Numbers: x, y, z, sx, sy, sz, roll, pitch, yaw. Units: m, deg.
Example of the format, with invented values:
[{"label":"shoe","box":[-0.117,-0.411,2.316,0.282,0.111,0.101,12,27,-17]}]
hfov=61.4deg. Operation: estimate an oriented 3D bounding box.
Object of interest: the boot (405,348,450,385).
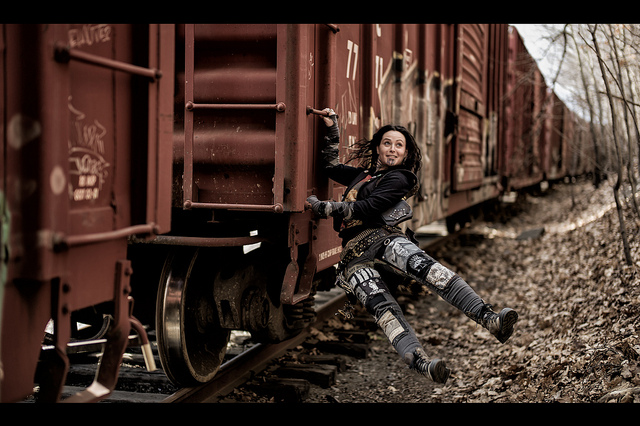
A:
[{"label":"boot","box":[0.843,1.202,4.211,0.228,0.277,0.332,-1,14,-34]}]

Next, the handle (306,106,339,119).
[{"label":"handle","box":[-0.026,-0.926,5.026,0.062,0.050,0.364,-2,-6,25]}]

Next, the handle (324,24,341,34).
[{"label":"handle","box":[0.109,-1.795,5.246,0.178,0.048,0.175,6,4,-4]}]
